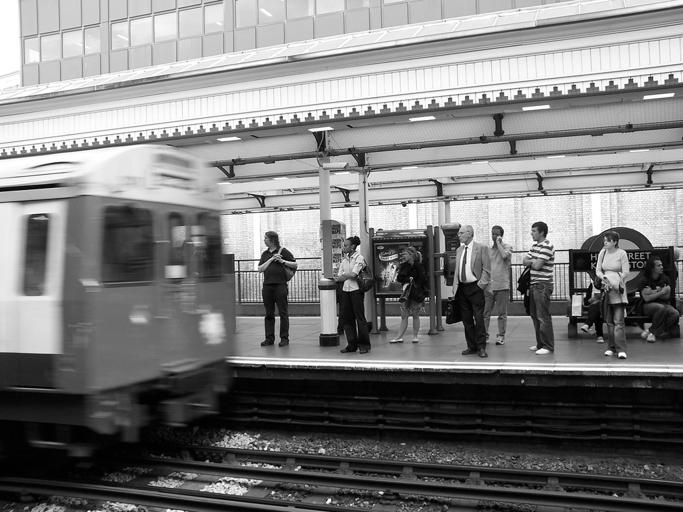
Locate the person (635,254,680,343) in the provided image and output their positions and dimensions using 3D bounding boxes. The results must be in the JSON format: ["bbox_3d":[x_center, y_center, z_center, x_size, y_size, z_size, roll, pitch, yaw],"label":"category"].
[{"bbox_3d":[5.965,0.785,16.009,0.706,1.602,0.610,-1,-4,0],"label":"person"}]

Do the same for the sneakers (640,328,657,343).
[{"bbox_3d":[5.746,1.487,15.951,0.137,0.180,0.454,-4,-15,16],"label":"sneakers"}]

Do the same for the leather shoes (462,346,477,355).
[{"bbox_3d":[2.223,1.673,14.972,0.301,0.128,0.107,3,-3,-11],"label":"leather shoes"}]

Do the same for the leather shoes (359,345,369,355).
[{"bbox_3d":[0.421,1.710,15.657,0.178,0.177,0.110,-1,-1,-5],"label":"leather shoes"}]

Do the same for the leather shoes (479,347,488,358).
[{"bbox_3d":[2.439,1.662,14.687,0.115,0.119,0.288,-2,-9,4],"label":"leather shoes"}]

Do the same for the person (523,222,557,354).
[{"bbox_3d":[3.440,0.546,14.764,0.479,2.285,0.853,-2,-4,12],"label":"person"}]

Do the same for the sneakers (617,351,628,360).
[{"bbox_3d":[4.604,1.630,14.010,0.119,0.083,0.208,-4,-5,23],"label":"sneakers"}]

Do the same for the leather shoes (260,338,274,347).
[{"bbox_3d":[-1.487,1.713,16.918,0.246,0.235,0.126,14,-15,-41],"label":"leather shoes"}]

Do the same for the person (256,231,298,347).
[{"bbox_3d":[-1.252,0.636,16.894,0.711,2.278,0.872,-1,-4,-6],"label":"person"}]

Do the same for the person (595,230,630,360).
[{"bbox_3d":[4.607,0.632,14.453,0.517,2.140,0.958,-3,-4,16],"label":"person"}]

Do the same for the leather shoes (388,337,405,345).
[{"bbox_3d":[1.076,1.656,16.661,0.300,0.118,0.110,1,-2,-3],"label":"leather shoes"}]

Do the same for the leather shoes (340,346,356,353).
[{"bbox_3d":[0.144,1.734,15.808,0.319,0.213,0.116,1,-3,7],"label":"leather shoes"}]

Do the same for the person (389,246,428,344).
[{"bbox_3d":[1.339,0.756,16.724,0.699,1.895,1.018,-2,-4,3],"label":"person"}]

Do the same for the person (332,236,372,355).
[{"bbox_3d":[0.223,0.701,15.852,0.562,2.194,0.614,0,-4,-19],"label":"person"}]

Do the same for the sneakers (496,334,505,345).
[{"bbox_3d":[3.004,1.592,16.129,0.092,0.118,0.276,-4,-10,23],"label":"sneakers"}]

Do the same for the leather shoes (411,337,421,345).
[{"bbox_3d":[1.452,1.656,16.666,0.102,0.135,0.308,-3,-8,9],"label":"leather shoes"}]

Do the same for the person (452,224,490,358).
[{"bbox_3d":[2.277,0.598,14.923,0.623,2.315,0.493,-3,-4,21],"label":"person"}]

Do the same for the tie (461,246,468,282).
[{"bbox_3d":[2.157,0.141,14.875,0.160,0.601,0.126,0,-4,-23],"label":"tie"}]
